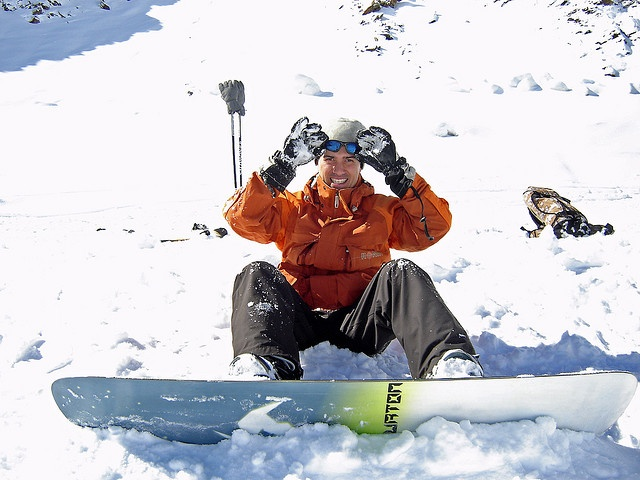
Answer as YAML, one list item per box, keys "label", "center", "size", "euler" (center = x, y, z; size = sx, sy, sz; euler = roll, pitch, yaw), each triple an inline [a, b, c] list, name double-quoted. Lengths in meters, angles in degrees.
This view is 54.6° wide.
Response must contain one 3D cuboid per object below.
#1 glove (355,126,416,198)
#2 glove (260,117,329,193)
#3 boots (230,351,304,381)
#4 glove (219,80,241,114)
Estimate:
- label: "glove"
  center: [0.722, -0.895, 6.778]
  size: [0.523, 0.854, 0.247]
  euler: [-36, 8, 24]
- label: "glove"
  center: [-0.271, -0.934, 6.929]
  size: [0.917, 0.565, 0.244]
  euler: [-45, -2, 9]
- label: "boots"
  center: [-0.477, 1.140, 5.591]
  size: [0.579, 0.268, 0.253]
  euler: [17, 39, 4]
- label: "glove"
  center: [-1.126, -1.852, 8.041]
  size: [0.283, 0.432, 0.347]
  euler: [-3, 25, 10]
